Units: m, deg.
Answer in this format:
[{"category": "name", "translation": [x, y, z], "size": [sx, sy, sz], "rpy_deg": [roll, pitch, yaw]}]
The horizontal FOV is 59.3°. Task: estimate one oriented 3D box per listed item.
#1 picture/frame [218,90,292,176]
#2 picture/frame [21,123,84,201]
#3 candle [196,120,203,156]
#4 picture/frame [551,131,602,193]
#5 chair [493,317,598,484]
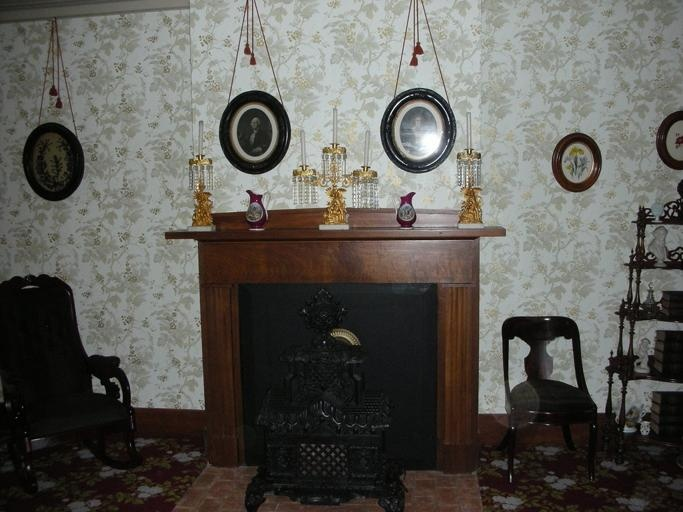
[{"category": "picture/frame", "translation": [-0.644, -0.969, 4.570], "size": [0.595, 0.747, 0.076], "rpy_deg": [0, 8, 4]}, {"category": "picture/frame", "translation": [-2.362, -0.801, 4.964], "size": [0.576, 0.682, 0.108], "rpy_deg": [-1, 5, 7]}, {"category": "candle", "translation": [-1.051, -0.891, 4.502], "size": [0.042, 0.285, 0.289], "rpy_deg": [-1, 5, -12]}, {"category": "picture/frame", "translation": [1.836, -0.760, 4.710], "size": [0.398, 0.523, 0.056], "rpy_deg": [-5, 4, 7]}, {"category": "chair", "translation": [1.563, 1.062, 4.541], "size": [0.706, 1.150, 0.651], "rpy_deg": [1, 5, 11]}]
